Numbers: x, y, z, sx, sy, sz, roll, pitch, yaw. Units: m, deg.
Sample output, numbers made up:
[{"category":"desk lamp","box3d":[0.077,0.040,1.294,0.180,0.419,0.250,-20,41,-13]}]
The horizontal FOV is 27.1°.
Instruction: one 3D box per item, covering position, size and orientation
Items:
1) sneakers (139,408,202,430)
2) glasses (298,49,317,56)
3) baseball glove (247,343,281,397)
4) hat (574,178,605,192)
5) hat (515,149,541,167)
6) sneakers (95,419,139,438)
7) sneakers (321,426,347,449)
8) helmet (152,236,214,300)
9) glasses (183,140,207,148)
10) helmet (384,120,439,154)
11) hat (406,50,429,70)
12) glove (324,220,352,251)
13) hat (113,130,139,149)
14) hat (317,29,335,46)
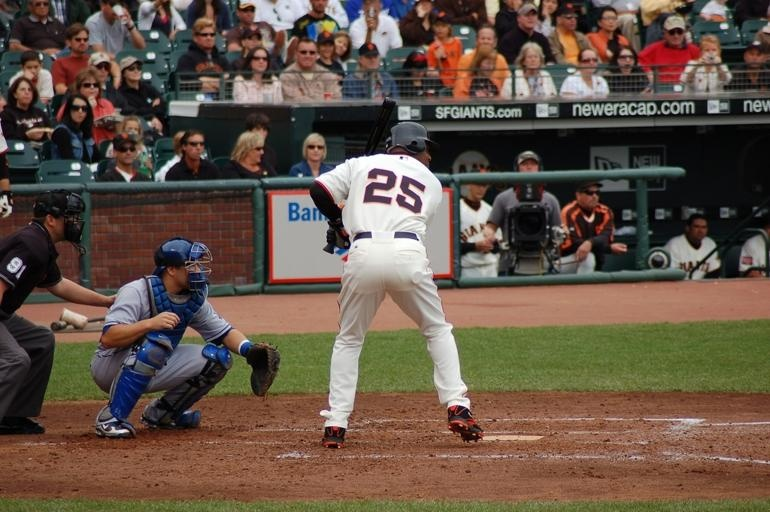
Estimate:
[{"category":"sneakers","box3d":[-2.319,1.813,17.177,0.603,0.277,0.245,9,4,-12]},{"category":"glasses","box3d":[-1.128,-2.915,22.818,0.226,0.085,0.077,-1,5,-2]},{"category":"baseball glove","box3d":[-1.305,1.237,16.892,0.354,0.589,0.253,0,5,8]},{"category":"hat","box3d":[2.823,-0.961,22.002,0.391,0.146,0.172,-2,5,-22]},{"category":"hat","box3d":[1.993,-1.331,22.314,0.338,0.238,0.361,0,5,3]},{"category":"sneakers","box3d":[-2.862,1.849,16.892,0.364,0.162,0.192,1,1,7]},{"category":"sneakers","box3d":[-0.543,1.907,16.610,0.227,0.245,0.117,-2,6,-13]},{"category":"helmet","box3d":[-2.163,0.096,16.943,0.665,0.547,0.461,1,8,10]},{"category":"glasses","box3d":[-2.569,-1.489,21.417,0.275,0.095,0.197,-2,5,-20]},{"category":"helmet","box3d":[0.268,-1.254,16.934,0.636,0.316,0.442,-6,4,-36]},{"category":"hat","box3d":[0.474,-2.874,23.388,0.275,0.297,0.349,1,-5,-19]},{"category":"glove","box3d":[-0.516,-0.209,16.945,0.349,0.323,0.271,-3,11,-5]},{"category":"hat","box3d":[-3.500,-1.541,21.300,0.294,0.192,0.242,-1,5,-7]},{"category":"hat","box3d":[-0.882,-3.194,23.347,0.216,0.171,0.328,-1,-2,-11]}]
